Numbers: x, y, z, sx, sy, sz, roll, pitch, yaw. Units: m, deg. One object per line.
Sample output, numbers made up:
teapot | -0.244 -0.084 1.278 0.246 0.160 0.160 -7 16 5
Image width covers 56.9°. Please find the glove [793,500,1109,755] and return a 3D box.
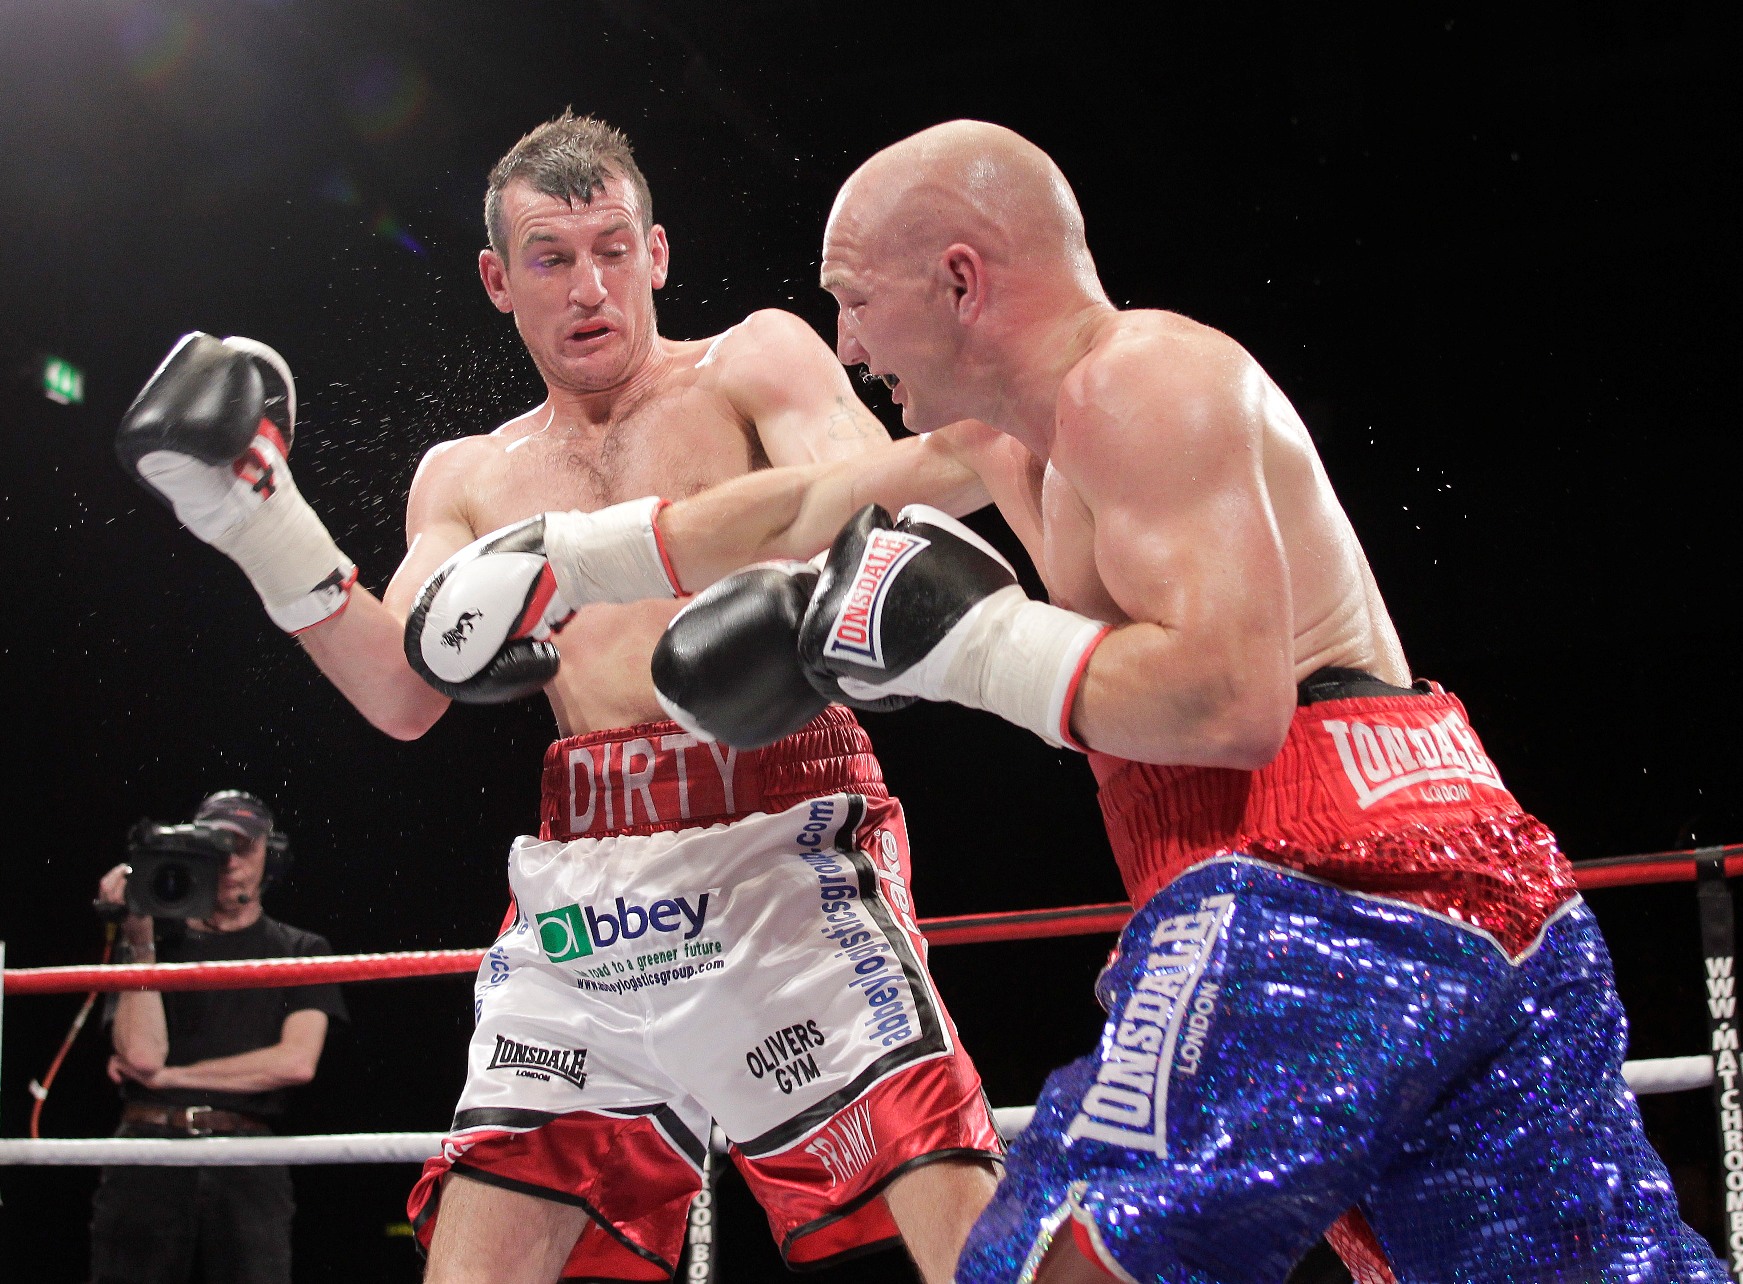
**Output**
glove | 0.110 -0.023 2.148 0.371 0.280 0.162 18 -30 15

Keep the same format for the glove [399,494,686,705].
glove | -0.563 -0.073 2.668 0.518 0.233 0.377 -28 -5 7

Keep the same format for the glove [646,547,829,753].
glove | -0.193 0.017 2.292 0.196 0.130 0.263 1 -19 -37

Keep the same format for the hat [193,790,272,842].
hat | -1.546 0.416 3.925 0.148 0.094 0.129 -5 -45 -9
